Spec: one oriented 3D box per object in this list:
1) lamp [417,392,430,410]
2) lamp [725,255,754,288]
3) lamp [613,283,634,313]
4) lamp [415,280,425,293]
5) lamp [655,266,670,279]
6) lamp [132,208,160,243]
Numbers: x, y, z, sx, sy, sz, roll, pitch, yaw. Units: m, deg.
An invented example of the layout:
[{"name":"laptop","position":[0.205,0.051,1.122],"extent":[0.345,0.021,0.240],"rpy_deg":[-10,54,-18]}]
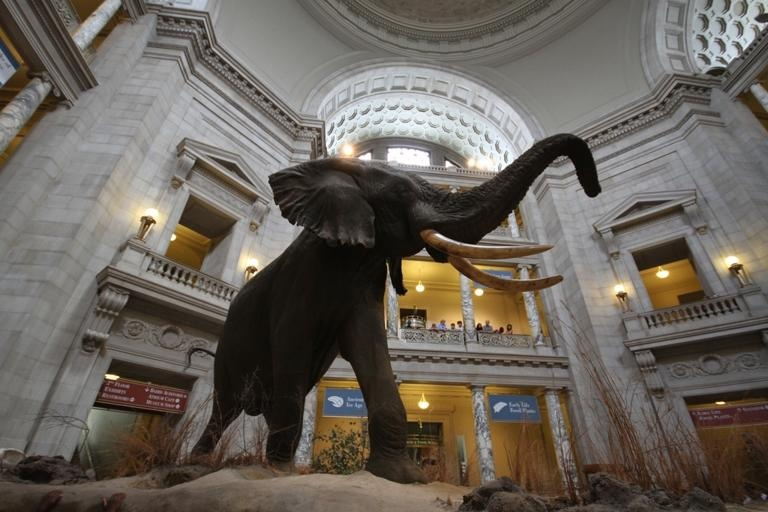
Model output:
[{"name":"lamp","position":[1.449,5.447,14.006],"extent":[0.511,0.497,0.903],"rpy_deg":[-5,-23,6]},{"name":"lamp","position":[10.140,0.447,10.698],"extent":[0.304,1.022,0.380],"rpy_deg":[25,-35,-38]},{"name":"lamp","position":[7.700,1.363,12.039],"extent":[0.367,1.015,0.326],"rpy_deg":[-15,-31,29]},{"name":"lamp","position":[1.534,1.344,16.337],"extent":[0.302,0.537,0.247],"rpy_deg":[-24,-46,24]},{"name":"lamp","position":[10.567,0.618,14.184],"extent":[0.377,0.506,0.387],"rpy_deg":[-19,-4,-15]},{"name":"lamp","position":[-5.883,-0.791,9.249],"extent":[0.379,1.147,0.505],"rpy_deg":[19,-32,-31]}]
